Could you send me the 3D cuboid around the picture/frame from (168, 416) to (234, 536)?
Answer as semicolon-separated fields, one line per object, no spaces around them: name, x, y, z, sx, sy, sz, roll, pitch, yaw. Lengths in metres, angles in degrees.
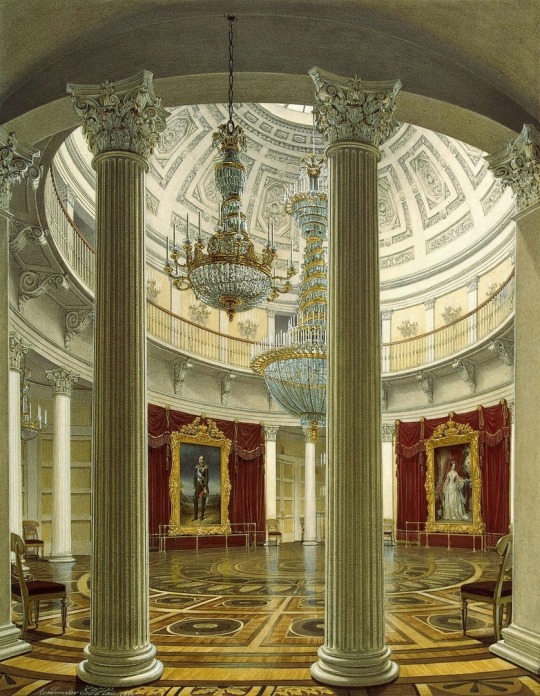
picture/frame;-1.611;2.843;16.535;0.372;3.258;2.401;-11;-16;36

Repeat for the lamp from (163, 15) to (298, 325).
lamp;-0.510;-2.560;9.851;1.795;4.127;1.727;0;-7;1
